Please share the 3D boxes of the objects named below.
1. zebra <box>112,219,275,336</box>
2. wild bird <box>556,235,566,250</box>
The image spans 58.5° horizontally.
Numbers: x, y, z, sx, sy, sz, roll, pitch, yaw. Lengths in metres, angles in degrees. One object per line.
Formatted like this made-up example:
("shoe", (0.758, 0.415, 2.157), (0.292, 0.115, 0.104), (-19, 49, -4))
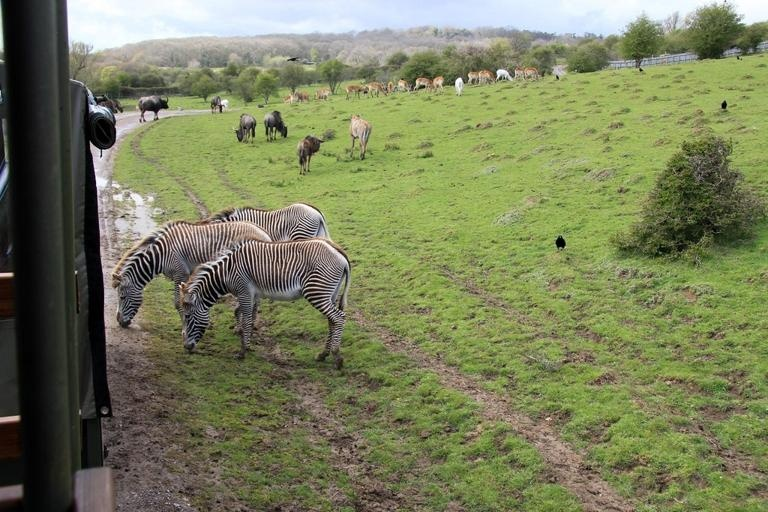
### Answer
("zebra", (-4.492, 0.298, 16.338), (3.962, 2.075, 1.101), (-14, 7, -18))
("wild bird", (5.086, -0.398, 19.767), (0.254, 0.321, 0.490), (-2, 6, 17))
